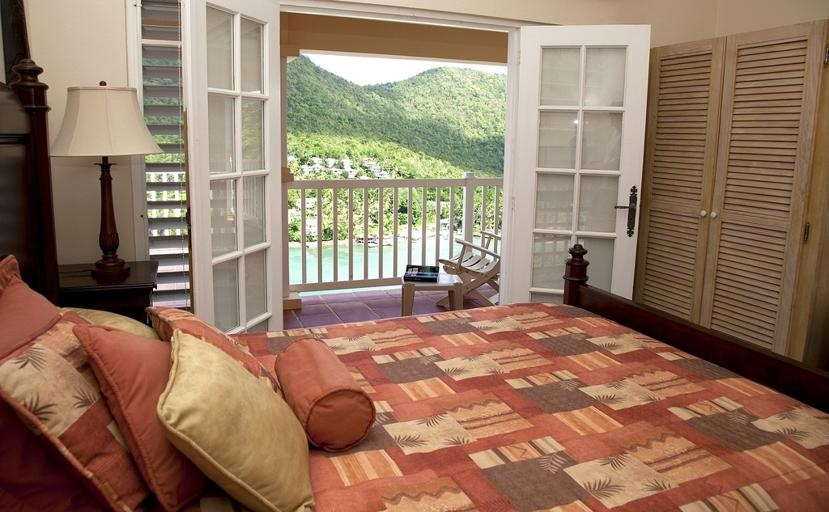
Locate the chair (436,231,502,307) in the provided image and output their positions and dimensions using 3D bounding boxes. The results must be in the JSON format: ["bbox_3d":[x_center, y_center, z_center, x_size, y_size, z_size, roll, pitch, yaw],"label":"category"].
[{"bbox_3d":[0.635,0.103,5.330,0.838,0.745,0.662,2,8,7],"label":"chair"}]

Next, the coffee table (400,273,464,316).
[{"bbox_3d":[0.147,0.320,4.884,0.497,0.349,0.460,-1,5,-7],"label":"coffee table"}]
